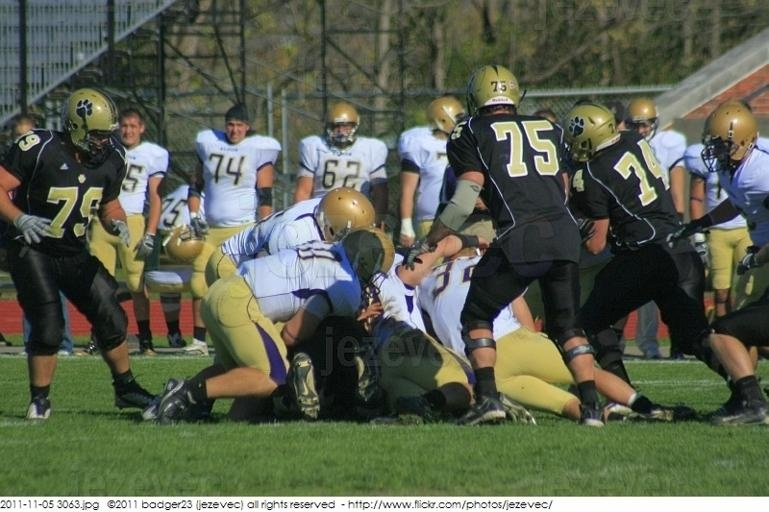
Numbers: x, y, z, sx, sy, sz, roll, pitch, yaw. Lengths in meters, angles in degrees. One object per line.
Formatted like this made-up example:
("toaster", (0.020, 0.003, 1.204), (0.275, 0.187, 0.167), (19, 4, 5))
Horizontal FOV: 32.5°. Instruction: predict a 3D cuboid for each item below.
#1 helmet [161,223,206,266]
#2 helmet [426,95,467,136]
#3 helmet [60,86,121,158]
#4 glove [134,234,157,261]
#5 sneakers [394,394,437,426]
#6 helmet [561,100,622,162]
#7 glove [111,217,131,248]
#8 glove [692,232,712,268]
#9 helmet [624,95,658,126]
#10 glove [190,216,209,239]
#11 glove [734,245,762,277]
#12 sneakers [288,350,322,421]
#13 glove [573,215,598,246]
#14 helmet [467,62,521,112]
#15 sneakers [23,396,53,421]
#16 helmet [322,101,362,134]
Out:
("helmet", (-2.171, -0.184, 14.101), (0.360, 0.386, 0.463), (-24, 51, -15))
("helmet", (0.648, -1.429, 13.721), (0.405, 0.362, 0.331), (-4, -2, 14))
("helmet", (-2.513, -1.141, 11.123), (0.546, 0.532, 0.397), (18, 18, -7))
("glove", (-2.366, -0.099, 12.966), (0.097, 0.244, 0.196), (26, -13, -41))
("sneakers", (0.258, 1.235, 10.689), (0.315, 0.199, 0.122), (-2, 1, 3))
("helmet", (1.831, -1.072, 11.386), (0.522, 0.430, 0.391), (13, 28, 39))
("glove", (-2.222, -0.191, 11.365), (0.090, 0.253, 0.189), (-27, 30, -27))
("glove", (3.099, -0.065, 12.848), (0.127, 0.324, 0.248), (-14, 12, -21))
("helmet", (2.719, -1.526, 13.942), (0.308, 0.272, 0.271), (12, -7, -35))
("glove", (-1.944, -0.315, 13.764), (0.119, 0.156, 0.223), (-9, 28, -32))
("glove", (3.228, 0.064, 11.560), (0.107, 0.250, 0.195), (33, 9, -8))
("sneakers", (-0.640, 1.020, 10.624), (0.200, 0.555, 0.224), (-5, 13, -4))
("glove", (1.744, -0.214, 11.402), (0.125, 0.240, 0.152), (-6, 3, -6))
("helmet", (0.919, -1.359, 11.015), (0.455, 0.484, 0.531), (-3, 16, 2))
("sneakers", (-2.869, 1.247, 10.873), (0.134, 0.186, 0.212), (8, -21, -15))
("helmet", (-0.438, -1.448, 13.813), (0.270, 0.266, 0.318), (2, 17, 2))
